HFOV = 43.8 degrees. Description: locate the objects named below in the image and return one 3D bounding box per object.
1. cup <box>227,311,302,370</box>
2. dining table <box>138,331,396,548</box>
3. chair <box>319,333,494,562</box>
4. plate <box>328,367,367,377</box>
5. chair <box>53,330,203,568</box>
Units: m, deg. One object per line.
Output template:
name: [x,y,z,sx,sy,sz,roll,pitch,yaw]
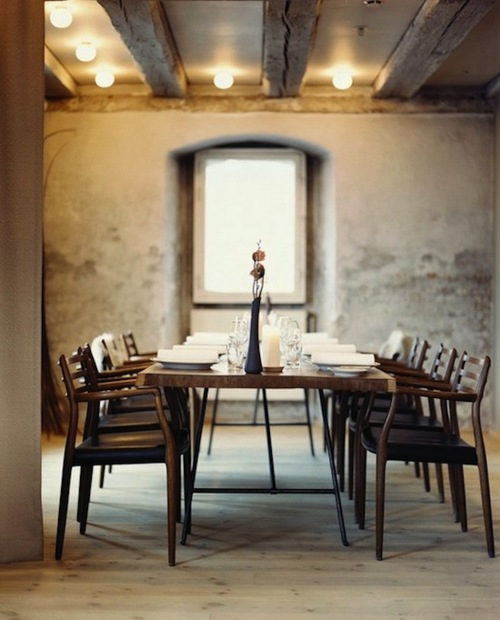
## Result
cup: [0.067,0.123,2.544,0.296,0.157,0.276,1,-3,0]
dining table: [0.079,0.561,2.430,0.962,0.564,0.512,-1,-10,1]
chair: [0.697,0.514,2.817,0.819,1.040,0.928,0,-2,2]
plate: [0.375,0.232,2.365,0.130,0.025,0.157,1,-1,5]
chair: [-0.498,0.481,2.664,0.760,0.961,1.028,0,0,-1]
